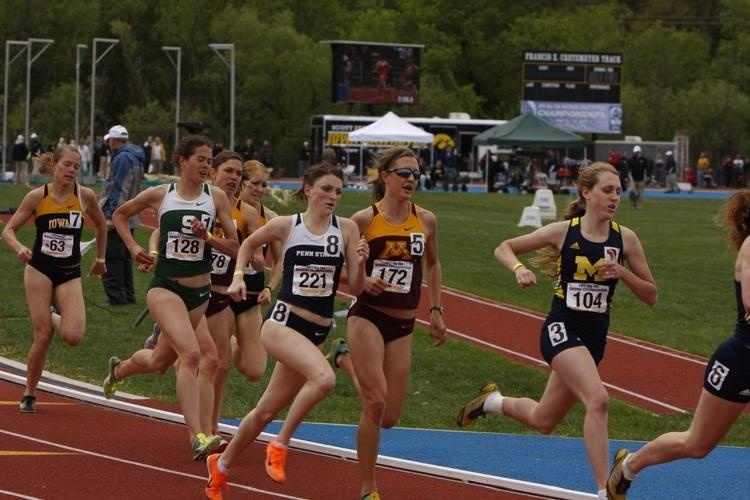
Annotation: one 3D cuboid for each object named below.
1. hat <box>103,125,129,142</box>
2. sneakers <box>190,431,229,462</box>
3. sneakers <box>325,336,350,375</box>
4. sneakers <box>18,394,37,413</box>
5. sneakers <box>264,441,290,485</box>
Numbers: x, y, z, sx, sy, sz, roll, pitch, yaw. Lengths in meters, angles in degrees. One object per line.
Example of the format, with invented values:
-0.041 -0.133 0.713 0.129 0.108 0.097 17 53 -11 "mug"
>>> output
-4.100 -1.842 13.826 0.355 0.257 0.474 -5 8 -36 "hat"
-1.608 1.876 8.470 0.420 0.166 0.202 -22 40 -3 "sneakers"
-0.355 1.030 8.558 0.196 0.458 0.155 -9 -26 28 "sneakers"
-3.867 1.675 9.763 0.177 0.197 0.229 1 7 -22 "sneakers"
-0.852 1.835 7.561 0.165 0.386 0.271 2 7 -9 "sneakers"
